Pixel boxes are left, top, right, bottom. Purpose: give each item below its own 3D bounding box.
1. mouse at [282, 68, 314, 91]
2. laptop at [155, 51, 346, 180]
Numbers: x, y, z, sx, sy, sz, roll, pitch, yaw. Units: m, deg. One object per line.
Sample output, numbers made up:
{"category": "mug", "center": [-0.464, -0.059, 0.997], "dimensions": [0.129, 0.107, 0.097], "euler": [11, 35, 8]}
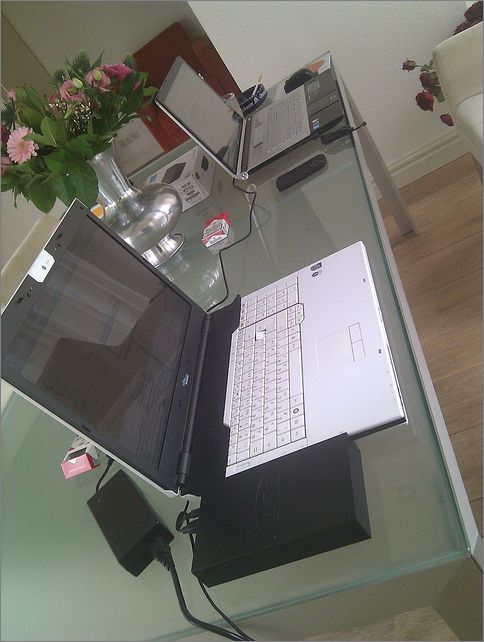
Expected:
{"category": "mouse", "center": [0.171, -0.753, 1.483], "dimensions": [0.091, 0.028, 0.067], "euler": [-45, 37, 9]}
{"category": "laptop", "center": [-0.025, -0.581, 1.225], "dimensions": [0.372, 0.348, 0.266], "euler": [-51, 26, 0]}
